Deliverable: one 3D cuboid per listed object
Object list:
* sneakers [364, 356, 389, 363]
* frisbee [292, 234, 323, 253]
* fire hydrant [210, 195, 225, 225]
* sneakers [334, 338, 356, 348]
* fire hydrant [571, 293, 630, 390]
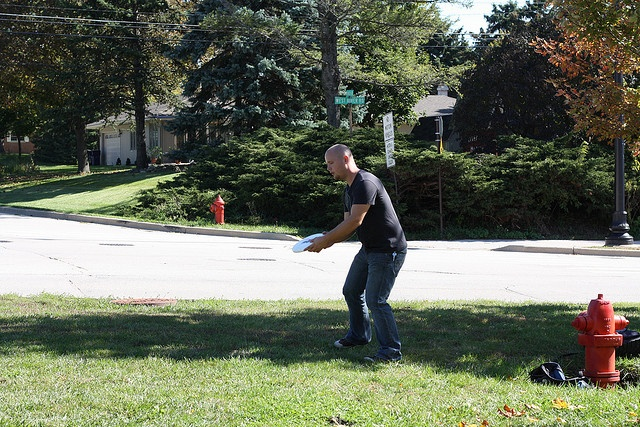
[{"bbox_3d":[1.223,3.099,19.371,0.548,0.208,0.184,-2,-1,10],"label":"sneakers"},{"bbox_3d":[-0.255,0.635,19.474,0.682,0.316,0.564,-1,-1,-2],"label":"frisbee"},{"bbox_3d":[-3.914,-0.135,34.485,0.461,0.854,0.825,-1,-1,-29],"label":"fire hydrant"},{"bbox_3d":[0.554,2.842,19.802,0.494,0.188,0.181,4,-7,3],"label":"sneakers"},{"bbox_3d":[5.834,2.635,18.777,0.902,1.828,0.298,-2,-1,14],"label":"fire hydrant"}]
